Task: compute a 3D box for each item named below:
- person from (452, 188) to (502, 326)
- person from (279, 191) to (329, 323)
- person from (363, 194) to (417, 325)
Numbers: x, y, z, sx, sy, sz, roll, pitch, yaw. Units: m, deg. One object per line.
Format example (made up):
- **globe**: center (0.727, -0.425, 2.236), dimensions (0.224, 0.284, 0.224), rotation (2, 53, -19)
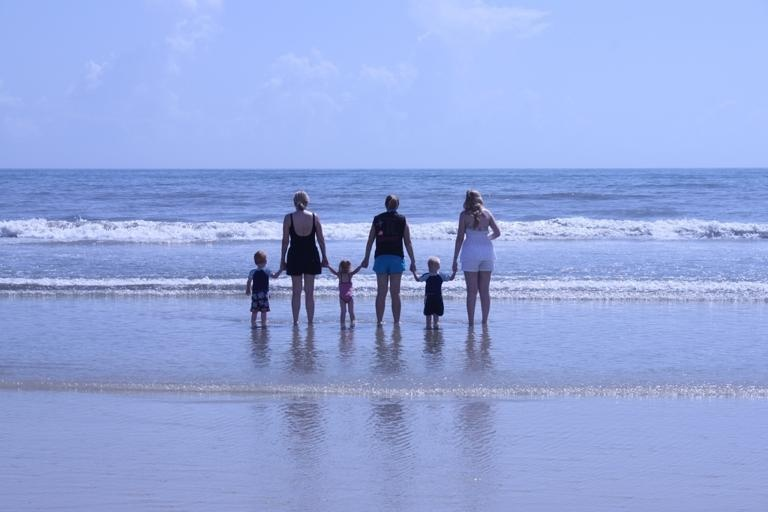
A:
- **person**: center (1.856, 0.109, 27.857), dimensions (0.835, 2.712, 1.071), rotation (4, -2, 4)
- **person**: center (-1.586, 0.105, 27.947), dimensions (0.906, 1.762, 1.201), rotation (4, -2, -3)
- **person**: center (0.106, 0.128, 27.838), dimensions (1.040, 2.626, 1.116), rotation (4, -2, -1)
